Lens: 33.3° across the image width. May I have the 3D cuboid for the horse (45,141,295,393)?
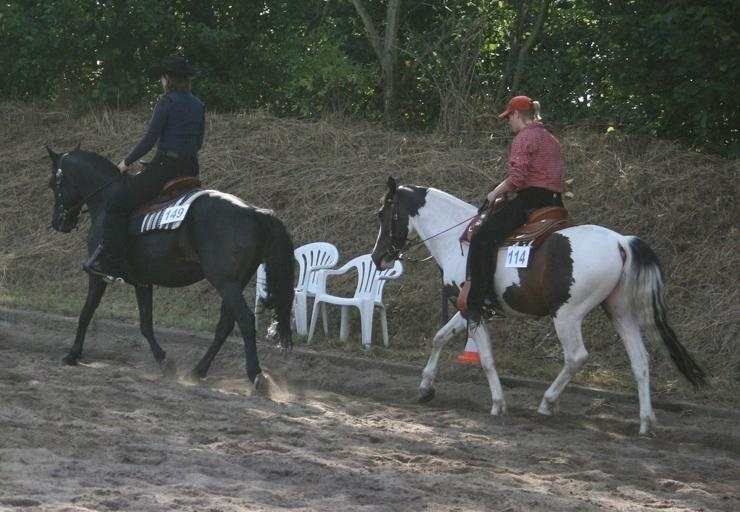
[{"bbox_3d":[-4.167,0.117,25.181,7.044,4.417,2.061,5,-1,34],"label":"horse"}]

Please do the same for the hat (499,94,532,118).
[{"bbox_3d":[2.825,-2.845,23.434,0.650,0.302,0.396,-4,10,12],"label":"hat"}]

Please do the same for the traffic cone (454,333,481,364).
[{"bbox_3d":[2.012,1.927,25.528,0.646,0.615,0.561,3,1,11],"label":"traffic cone"}]

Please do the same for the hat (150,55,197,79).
[{"bbox_3d":[-3.834,-3.674,24.048,0.843,0.422,0.428,4,11,-11],"label":"hat"}]
